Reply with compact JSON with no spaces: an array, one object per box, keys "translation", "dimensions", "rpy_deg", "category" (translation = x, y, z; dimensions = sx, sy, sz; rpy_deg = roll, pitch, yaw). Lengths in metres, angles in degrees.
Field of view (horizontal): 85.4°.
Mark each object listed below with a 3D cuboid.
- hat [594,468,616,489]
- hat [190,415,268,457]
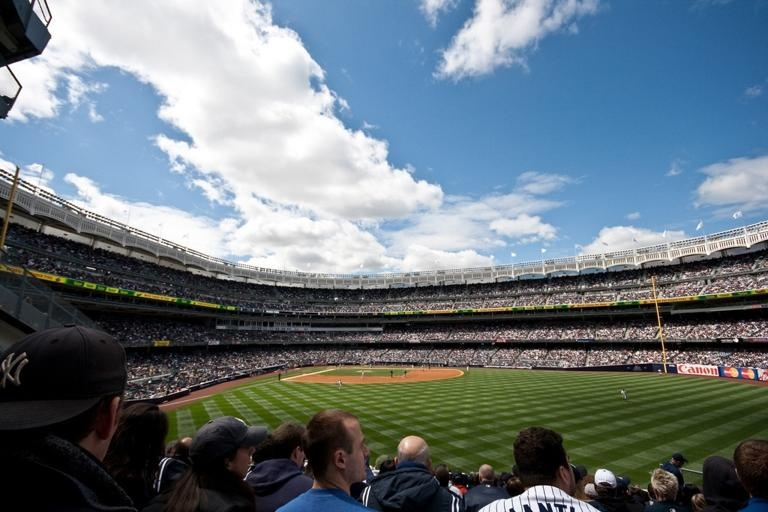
[{"translation":[5.122,5.200,9.591],"dimensions":[0.514,0.367,0.320],"rpy_deg":[20,-26,-36],"category":"hat"},{"translation":[-2.310,2.823,6.439],"dimensions":[1.040,0.363,0.670],"rpy_deg":[3,-3,-39],"category":"hat"}]
